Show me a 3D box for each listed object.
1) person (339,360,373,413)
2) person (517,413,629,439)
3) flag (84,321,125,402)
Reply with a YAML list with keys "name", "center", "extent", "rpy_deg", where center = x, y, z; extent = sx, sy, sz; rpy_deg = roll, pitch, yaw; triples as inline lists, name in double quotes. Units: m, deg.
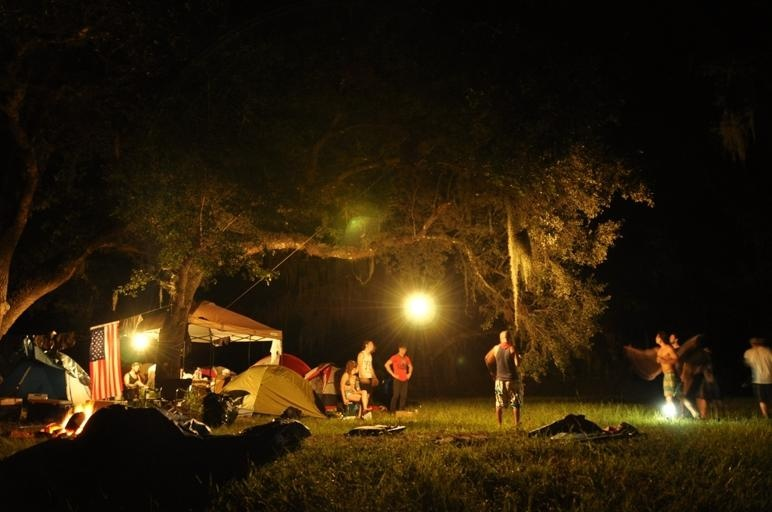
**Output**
- name: "person"
  center: [-0.926, 3.946, 21.360]
  extent: [0.765, 1.502, 1.407]
  rpy_deg: [-1, 3, -15]
- name: "person"
  center: [4.496, 3.902, 16.148]
  extent: [2.363, 0.402, 1.088]
  rpy_deg: [1, 2, 8]
- name: "flag"
  center: [-8.753, 3.257, 22.046]
  extent: [1.003, 2.375, 0.799]
  rpy_deg: [0, 3, -2]
